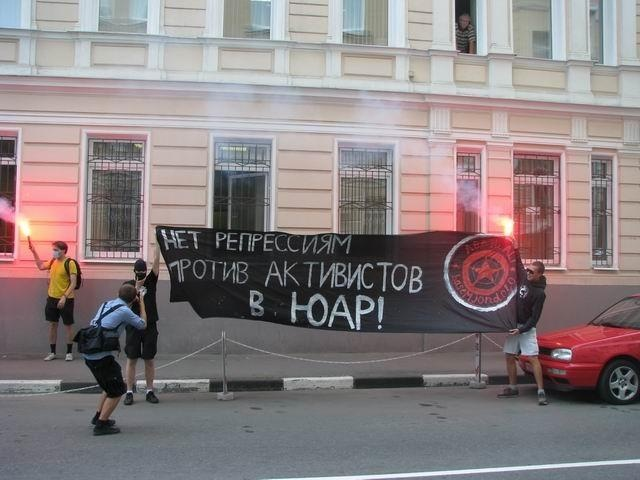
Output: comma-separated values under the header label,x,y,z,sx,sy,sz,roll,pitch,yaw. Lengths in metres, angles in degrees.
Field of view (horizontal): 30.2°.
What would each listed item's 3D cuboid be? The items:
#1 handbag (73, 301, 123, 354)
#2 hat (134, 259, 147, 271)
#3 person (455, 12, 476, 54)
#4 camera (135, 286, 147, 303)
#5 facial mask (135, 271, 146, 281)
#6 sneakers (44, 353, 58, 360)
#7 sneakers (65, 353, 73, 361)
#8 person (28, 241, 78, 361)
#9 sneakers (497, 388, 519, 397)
label,x,y,z,sx,sy,sz,roll,pitch,yaw
handbag,-3.802,1.541,20.377,0.800,0.786,0.451,-2,15,-10
hat,-3.313,0.455,22.021,0.185,0.231,0.338,1,14,2
person,3.376,-4.785,27.379,0.457,0.894,0.491,-1,15,-4
camera,-3.258,0.966,21.818,0.246,0.199,0.089,4,-6,-17
facial mask,-3.313,0.654,21.983,0.216,0.158,0.181,-3,14,-12
sneakers,-5.598,2.414,24.647,0.243,0.163,0.404,-3,13,-13
sneakers,-5.187,2.415,24.548,0.131,0.113,0.321,0,-10,-15
person,-5.485,1.242,24.831,1.024,2.457,1.452,-3,15,-13
sneakers,3.589,2.911,22.665,0.430,0.147,0.166,0,-9,2
